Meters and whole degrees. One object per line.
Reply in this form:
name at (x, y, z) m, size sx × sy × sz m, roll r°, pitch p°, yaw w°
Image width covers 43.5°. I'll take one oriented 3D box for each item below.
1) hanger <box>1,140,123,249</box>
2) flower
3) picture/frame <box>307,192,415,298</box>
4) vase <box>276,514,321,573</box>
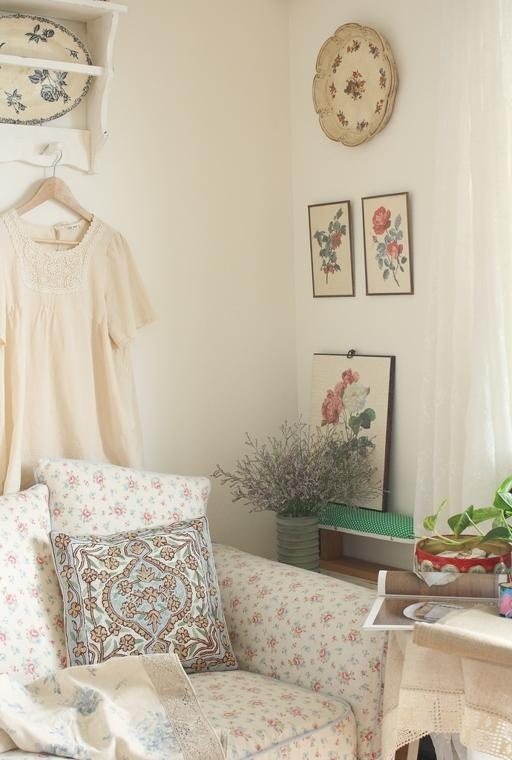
hanger at (-0.563, -0.524, 1.820) m, size 0.038 × 0.266 × 0.381 m, roll 4°, pitch 4°, yaw 36°
flower at (0.140, 0.324, 2.200) m, size 0.417 × 0.290 × 0.409 m, roll -2°, pitch 2°, yaw -12°
picture/frame at (0.367, -0.458, 2.169) m, size 0.015 × 0.302 × 0.424 m, roll -10°, pitch 9°, yaw -37°
vase at (0.153, 0.530, 2.145) m, size 0.155 × 0.167 × 0.157 m, roll 0°, pitch -11°, yaw 23°
